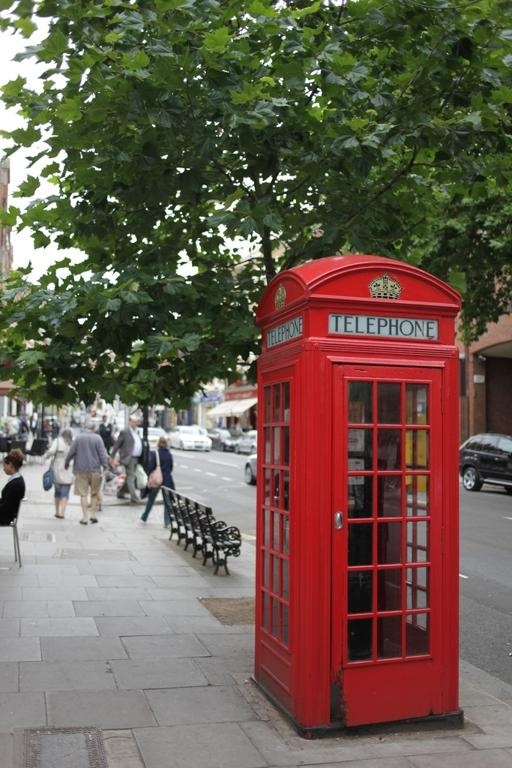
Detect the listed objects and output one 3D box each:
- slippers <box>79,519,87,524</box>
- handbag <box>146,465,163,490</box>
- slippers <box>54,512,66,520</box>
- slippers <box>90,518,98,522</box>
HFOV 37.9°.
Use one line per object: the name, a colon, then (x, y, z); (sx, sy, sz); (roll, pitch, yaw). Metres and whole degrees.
slippers: (-3.121, 2.487, 13.460); (0.075, 0.078, 0.199); (2, 2, -20)
handbag: (-1.826, 1.677, 13.536); (0.325, 0.568, 0.430); (3, -4, -12)
slippers: (-3.724, 2.486, 14.102); (0.149, 0.174, 0.428); (3, -8, -21)
slippers: (-2.994, 2.498, 13.706); (0.140, 0.088, 0.252); (-1, -2, -15)
